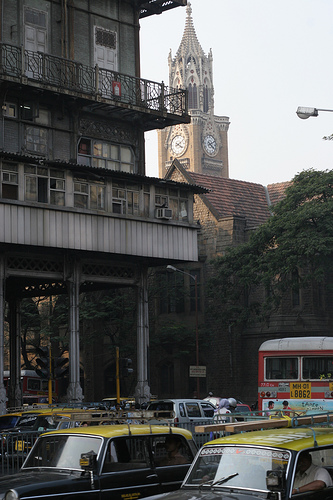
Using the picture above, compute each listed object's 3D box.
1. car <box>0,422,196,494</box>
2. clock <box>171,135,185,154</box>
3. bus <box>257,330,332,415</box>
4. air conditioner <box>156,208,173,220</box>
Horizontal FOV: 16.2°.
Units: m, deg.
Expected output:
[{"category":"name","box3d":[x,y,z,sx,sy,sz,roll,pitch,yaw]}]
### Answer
[{"category":"car","box3d":[-0.922,3.209,17.603,2.246,1.129,1.199,9,-17,-39]},{"category":"clock","box3d":[1.556,-13.937,155.288,0.215,2.391,2.237,3,-10,-24]},{"category":"bus","box3d":[3.762,3.690,34.470,0.718,2.347,2.776,-2,-12,-42]},{"category":"air conditioner","box3d":[-0.060,-1.209,39.219,0.500,0.378,0.439,-4,-11,-36]}]
